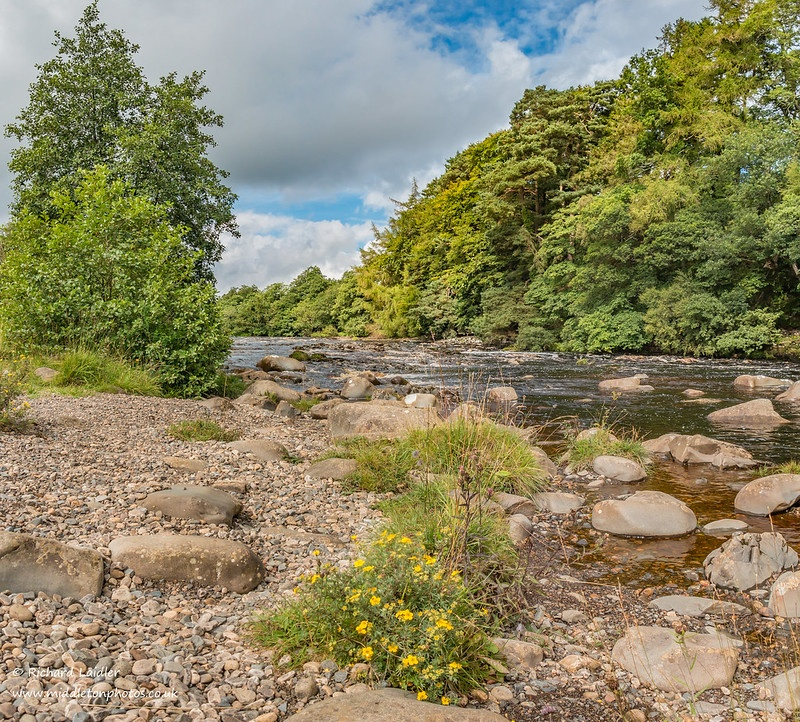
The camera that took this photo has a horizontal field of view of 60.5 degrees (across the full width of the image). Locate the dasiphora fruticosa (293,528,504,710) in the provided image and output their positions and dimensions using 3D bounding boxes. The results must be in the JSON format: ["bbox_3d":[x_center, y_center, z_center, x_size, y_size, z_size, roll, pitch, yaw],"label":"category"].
[{"bbox_3d":[-0.027,2.087,5.605,1.516,1.121,0.834,-3,5,4],"label":"dasiphora fruticosa"}]
